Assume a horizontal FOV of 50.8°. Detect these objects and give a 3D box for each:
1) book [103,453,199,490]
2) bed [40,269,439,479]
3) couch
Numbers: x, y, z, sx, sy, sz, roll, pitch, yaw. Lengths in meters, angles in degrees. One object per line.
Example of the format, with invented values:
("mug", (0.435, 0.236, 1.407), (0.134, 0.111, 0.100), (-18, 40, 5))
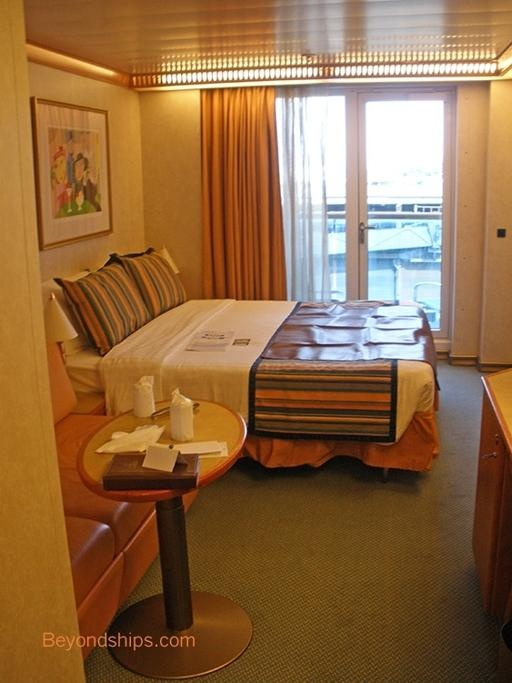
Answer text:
("book", (-0.286, 0.371, 1.504), (0.141, 0.034, 0.146), (1, 3, 5))
("bed", (-0.041, 0.382, 3.474), (2.081, 0.972, 1.341), (0, 31, 5))
("couch", (-0.454, 0.531, 1.932), (0.491, 0.694, 1.004), (-1, 16, 0))
